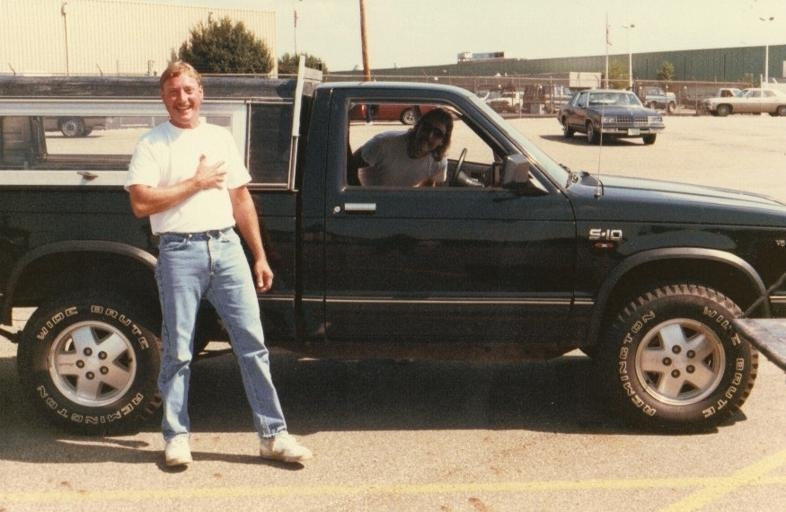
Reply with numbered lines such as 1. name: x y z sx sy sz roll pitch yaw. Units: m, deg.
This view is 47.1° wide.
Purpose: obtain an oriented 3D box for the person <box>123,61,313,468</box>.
1. person: -1.406 0.103 6.763 1.050 2.981 0.639 -3 14 -15

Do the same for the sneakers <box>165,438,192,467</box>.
1. sneakers: -1.658 1.513 6.990 0.196 0.199 0.468 -2 -2 -17

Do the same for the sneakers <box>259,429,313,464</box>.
1. sneakers: -0.852 1.476 7.027 0.485 0.244 0.215 1 -1 36
